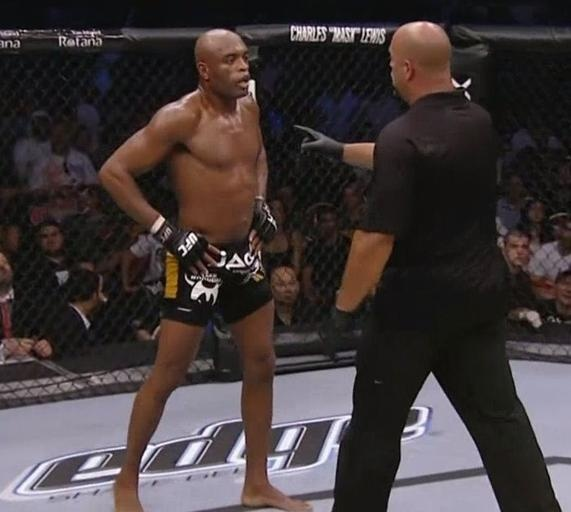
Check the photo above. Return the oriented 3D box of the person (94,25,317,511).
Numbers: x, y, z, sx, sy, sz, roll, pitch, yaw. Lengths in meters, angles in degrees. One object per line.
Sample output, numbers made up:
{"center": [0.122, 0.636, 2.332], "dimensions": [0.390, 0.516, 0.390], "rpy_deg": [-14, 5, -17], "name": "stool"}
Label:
{"center": [-0.309, 0.065, 2.138], "dimensions": [0.619, 1.635, 0.605], "rpy_deg": [-2, 20, -16], "name": "person"}
